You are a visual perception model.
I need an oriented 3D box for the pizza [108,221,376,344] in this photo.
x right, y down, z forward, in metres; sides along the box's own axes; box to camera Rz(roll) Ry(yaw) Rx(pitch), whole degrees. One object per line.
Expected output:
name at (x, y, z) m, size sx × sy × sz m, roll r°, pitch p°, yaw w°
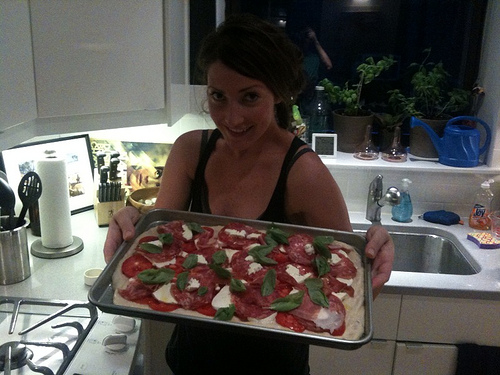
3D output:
pizza at (-0.007, 0.238, 1.110) m, size 0.710 × 0.204 × 0.459 m, roll 1°, pitch 10°, yaw 15°

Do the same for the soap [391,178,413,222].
soap at (0.929, 0.059, 2.280) m, size 0.134 × 0.314 × 0.140 m, roll 3°, pitch 7°, yaw 2°

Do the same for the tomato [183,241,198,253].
tomato at (-0.191, 0.187, 1.191) m, size 0.042 × 0.028 × 0.042 m, roll -4°, pitch 10°, yaw -17°

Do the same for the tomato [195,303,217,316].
tomato at (-0.113, 0.318, 0.971) m, size 0.046 × 0.017 × 0.039 m, roll -7°, pitch 11°, yaw -33°

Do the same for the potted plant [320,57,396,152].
potted plant at (0.658, -0.524, 2.383) m, size 0.265 × 0.606 × 0.433 m, roll -9°, pitch 21°, yaw -38°

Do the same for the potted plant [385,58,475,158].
potted plant at (1.101, -0.484, 2.305) m, size 0.507 × 0.589 × 0.271 m, roll 1°, pitch 10°, yaw 12°

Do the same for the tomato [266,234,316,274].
tomato at (0.140, 0.199, 1.154) m, size 0.107 × 0.030 × 0.094 m, roll -29°, pitch 37°, yaw -31°

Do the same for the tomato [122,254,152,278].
tomato at (-0.333, 0.225, 1.092) m, size 0.058 × 0.038 × 0.085 m, roll 5°, pitch 11°, yaw 33°

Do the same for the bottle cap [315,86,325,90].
bottle cap at (0.432, -0.617, 2.328) m, size 0.053 × 0.023 × 0.025 m, roll -3°, pitch 10°, yaw -12°

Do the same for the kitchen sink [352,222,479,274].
kitchen sink at (0.848, 0.288, 1.835) m, size 0.425 × 0.184 × 0.541 m, roll 3°, pitch 21°, yaw 5°

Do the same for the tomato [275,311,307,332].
tomato at (0.097, 0.336, 0.941) m, size 0.042 × 0.027 × 0.079 m, roll -10°, pitch 13°, yaw -43°

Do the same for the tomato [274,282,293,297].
tomato at (0.093, 0.280, 1.042) m, size 0.040 × 0.021 × 0.049 m, roll 6°, pitch 12°, yaw 39°

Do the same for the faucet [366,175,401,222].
faucet at (0.782, 0.068, 2.209) m, size 0.135 × 0.279 × 0.186 m, roll -5°, pitch 10°, yaw -18°
